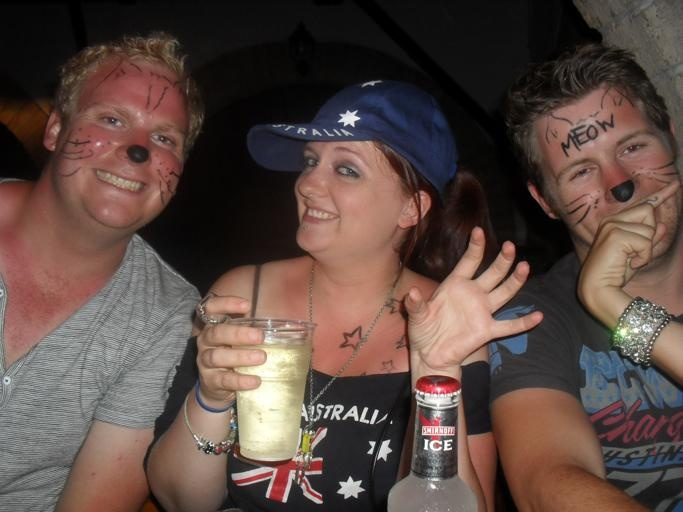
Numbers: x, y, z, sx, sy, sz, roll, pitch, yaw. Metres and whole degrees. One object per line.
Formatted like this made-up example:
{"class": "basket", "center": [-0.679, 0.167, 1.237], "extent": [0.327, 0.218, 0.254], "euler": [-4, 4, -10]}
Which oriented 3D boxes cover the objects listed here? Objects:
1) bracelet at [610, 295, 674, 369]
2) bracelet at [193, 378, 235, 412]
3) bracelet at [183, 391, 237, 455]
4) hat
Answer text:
{"class": "bracelet", "center": [1.391, 0.341, 3.018], "extent": [0.255, 0.295, 0.118], "euler": [1, -15, 21]}
{"class": "bracelet", "center": [-0.558, 0.585, 2.830], "extent": [0.178, 0.045, 0.164], "euler": [26, -16, -35]}
{"class": "bracelet", "center": [-0.588, 0.758, 2.881], "extent": [0.216, 0.266, 0.089], "euler": [-12, -17, -24]}
{"class": "hat", "center": [0.105, -0.671, 3.463], "extent": [1.049, 0.500, 0.626], "euler": [16, -1, -14]}
